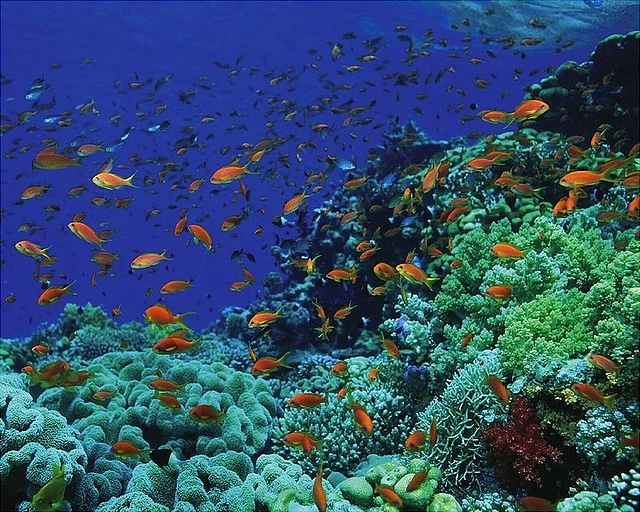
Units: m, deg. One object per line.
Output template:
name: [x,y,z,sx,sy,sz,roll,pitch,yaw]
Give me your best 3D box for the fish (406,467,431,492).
fish: [1.621,3.720,10.220,0.549,0.239,0.121,-37,19,-15]
